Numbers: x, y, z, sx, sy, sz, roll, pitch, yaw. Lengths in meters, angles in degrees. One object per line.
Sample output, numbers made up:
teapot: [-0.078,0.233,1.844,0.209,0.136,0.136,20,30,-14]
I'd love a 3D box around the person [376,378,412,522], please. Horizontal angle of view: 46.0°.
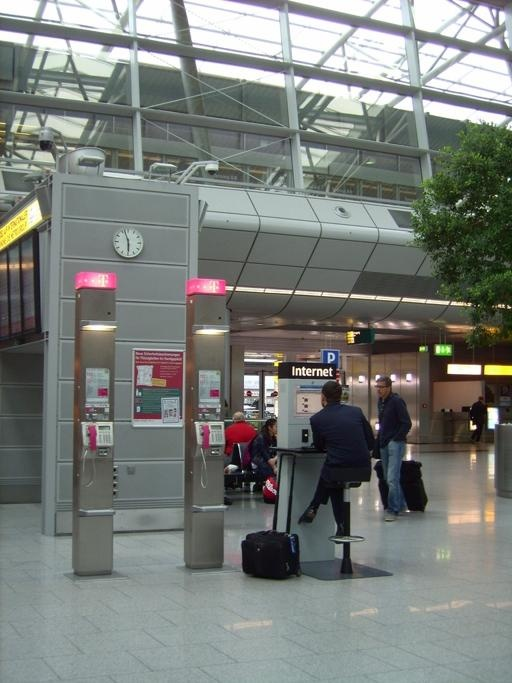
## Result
person: [2.059,1.583,9.071,0.481,2.098,0.962,-1,-9,12]

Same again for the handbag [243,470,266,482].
handbag: [-0.037,2.399,10.679,0.329,0.116,0.307,4,-5,-32]

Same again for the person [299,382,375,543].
person: [0.805,1.154,5.909,0.649,1.405,0.845,4,-11,-27]

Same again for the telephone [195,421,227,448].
telephone: [-0.430,0.910,5.866,0.326,0.263,0.105,7,-11,-35]

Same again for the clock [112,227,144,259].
clock: [-1.797,-1.363,8.355,0.478,0.461,0.067,0,-4,-34]

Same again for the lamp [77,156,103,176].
lamp: [-2.476,-2.644,9.066,0.250,0.221,0.290,2,-13,-17]

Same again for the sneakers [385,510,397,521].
sneakers: [1.959,2.550,8.795,0.160,0.112,0.311,-1,-9,13]

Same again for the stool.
stool: [0.906,1.664,5.755,0.355,0.966,0.821,0,-9,8]

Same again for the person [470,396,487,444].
person: [9.958,3.492,27.006,0.693,2.077,1.406,-2,-9,20]

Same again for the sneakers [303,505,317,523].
sneakers: [0.493,1.630,5.716,0.137,0.188,0.212,1,-9,-2]
